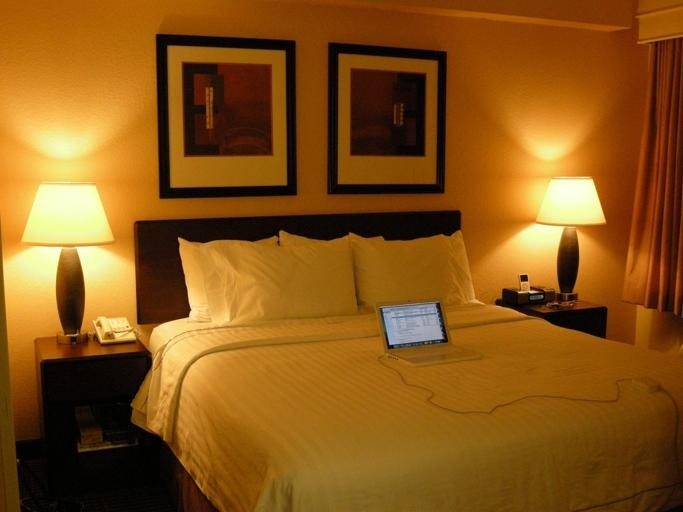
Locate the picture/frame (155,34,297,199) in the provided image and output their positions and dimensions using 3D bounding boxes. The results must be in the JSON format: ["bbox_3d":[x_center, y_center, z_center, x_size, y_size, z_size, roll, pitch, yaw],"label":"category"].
[{"bbox_3d":[-0.794,-0.949,3.629,1.092,1.252,0.057,-2,4,-24],"label":"picture/frame"}]

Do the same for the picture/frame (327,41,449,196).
[{"bbox_3d":[0.305,-1.035,4.006,1.146,1.268,0.086,0,2,-24],"label":"picture/frame"}]

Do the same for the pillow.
[{"bbox_3d":[-0.061,0.115,3.601,1.875,0.477,0.502,-4,13,-18],"label":"pillow"}]

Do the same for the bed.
[{"bbox_3d":[0.211,0.489,2.815,1.574,0.930,0.512,-5,10,-24],"label":"bed"}]

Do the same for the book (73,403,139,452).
[{"bbox_3d":[-1.357,0.952,3.200,0.281,0.090,0.279,-3,25,-22],"label":"book"}]

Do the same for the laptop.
[{"bbox_3d":[0.445,0.319,2.743,0.368,0.227,0.331,-3,5,-27],"label":"laptop"}]

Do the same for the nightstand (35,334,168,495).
[{"bbox_3d":[-1.380,0.867,3.442,0.693,1.003,0.744,-2,6,-25],"label":"nightstand"}]

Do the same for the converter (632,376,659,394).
[{"bbox_3d":[1.347,0.566,2.420,0.046,0.022,0.079,-6,10,-19],"label":"converter"}]

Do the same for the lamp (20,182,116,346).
[{"bbox_3d":[-1.569,0.034,3.202,0.483,0.908,0.228,-4,13,-17],"label":"lamp"}]
